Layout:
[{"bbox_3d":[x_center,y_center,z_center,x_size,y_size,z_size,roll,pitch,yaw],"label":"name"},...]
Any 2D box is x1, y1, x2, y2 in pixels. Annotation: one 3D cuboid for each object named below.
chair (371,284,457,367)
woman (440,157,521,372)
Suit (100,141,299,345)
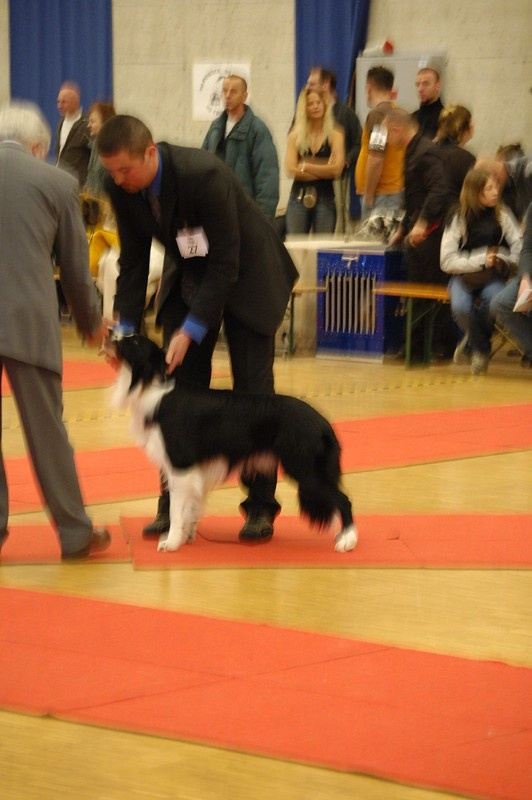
[{"bbox_3d":[1.421,-0.693,7.875,0.734,0.740,0.752,-1,4,-15],"label":"chair"},{"bbox_3d":[1.910,-1.162,7.448,0.701,1.856,0.419,0,2,8],"label":"woman"},{"bbox_3d":[-0.254,-0.583,3.220,0.727,0.724,0.547,-1,2,2],"label":"Suit"}]
